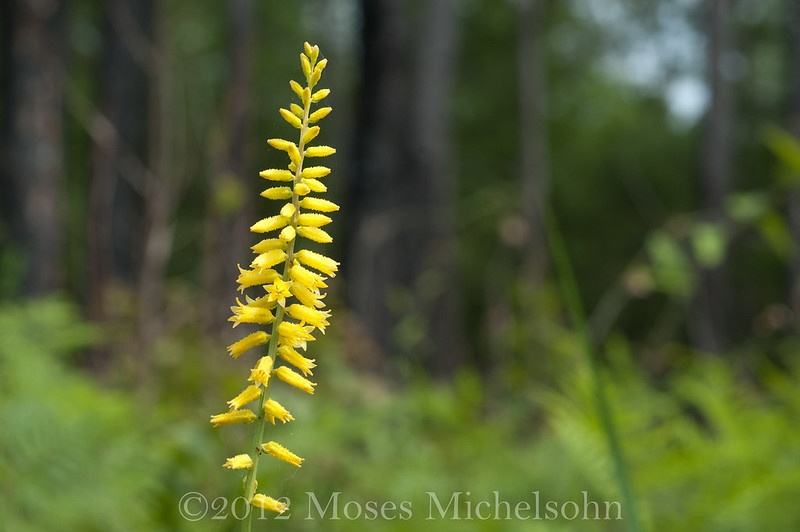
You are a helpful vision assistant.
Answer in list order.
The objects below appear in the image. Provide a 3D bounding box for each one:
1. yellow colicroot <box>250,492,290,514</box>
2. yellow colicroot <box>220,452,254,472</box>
[{"bbox_3d":[-0.432,0.767,4.065,0.138,0.085,0.049,26,84,-12],"label":"yellow colicroot"},{"bbox_3d":[-0.529,0.645,4.074,0.091,0.032,0.087,10,57,-8],"label":"yellow colicroot"}]
